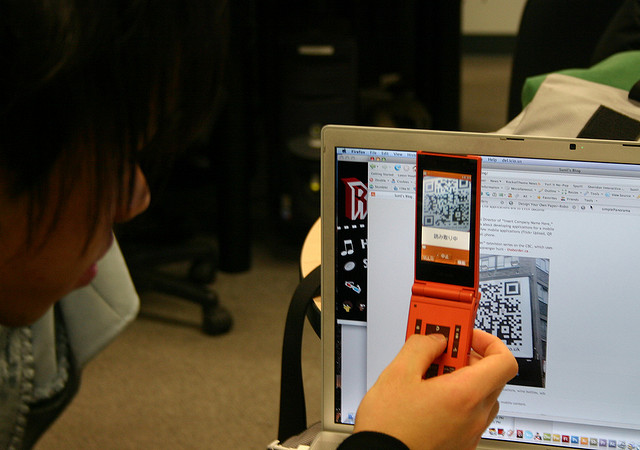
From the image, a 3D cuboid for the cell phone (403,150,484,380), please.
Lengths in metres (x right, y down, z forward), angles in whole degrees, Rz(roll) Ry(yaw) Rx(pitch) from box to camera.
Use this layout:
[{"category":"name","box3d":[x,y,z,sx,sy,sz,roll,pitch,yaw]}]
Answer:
[{"category":"cell phone","box3d":[0.166,0.062,0.799,0.094,0.301,0.085,4,21,8]}]

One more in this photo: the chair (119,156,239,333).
[{"category":"chair","box3d":[-0.424,0.066,1.848,0.409,0.585,0.423,0,49,-5]}]
